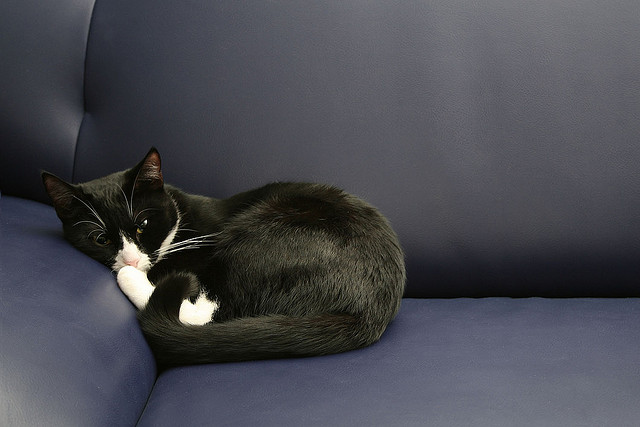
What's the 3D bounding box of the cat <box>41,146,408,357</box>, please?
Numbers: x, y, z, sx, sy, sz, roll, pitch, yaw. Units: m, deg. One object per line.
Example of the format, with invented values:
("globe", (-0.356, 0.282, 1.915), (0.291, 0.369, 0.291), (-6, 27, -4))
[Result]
("cat", (-0.266, 0.127, 1.749), (0.912, 0.601, 0.344), (3, -78, -11))
